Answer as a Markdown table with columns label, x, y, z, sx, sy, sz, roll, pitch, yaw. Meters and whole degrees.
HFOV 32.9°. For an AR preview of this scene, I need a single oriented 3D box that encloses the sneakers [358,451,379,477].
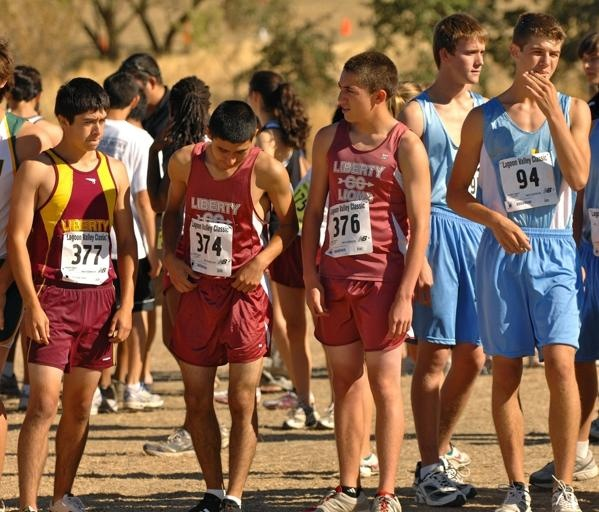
| label | x | y | z | sx | sy | sz | roll | pitch | yaw |
| --- | --- | --- | --- | --- | --- | --- | --- | --- | --- |
| sneakers | 0.448 | 1.319 | 6.367 | 0.083 | 0.112 | 0.246 | -6 | -4 | 16 |

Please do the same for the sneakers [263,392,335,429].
| label | x | y | z | sx | sy | sz | roll | pitch | yaw |
| --- | --- | --- | --- | --- | --- | --- | --- | --- | --- |
| sneakers | -0.047 | 1.197 | 7.710 | 0.638 | 0.316 | 0.226 | 2 | 2 | -2 |
